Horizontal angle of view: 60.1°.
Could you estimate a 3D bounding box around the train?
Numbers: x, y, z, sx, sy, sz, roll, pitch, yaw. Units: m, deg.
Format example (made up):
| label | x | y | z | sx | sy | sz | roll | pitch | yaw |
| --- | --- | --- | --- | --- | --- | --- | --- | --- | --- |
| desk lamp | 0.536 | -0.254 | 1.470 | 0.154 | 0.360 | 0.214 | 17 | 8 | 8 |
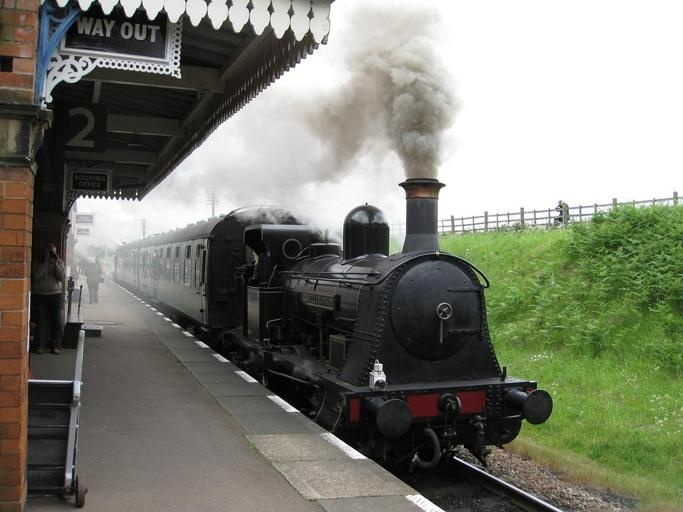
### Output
| label | x | y | z | sx | sy | sz | roll | pitch | yaw |
| --- | --- | --- | --- | --- | --- | --- | --- | --- | --- |
| train | -1.498 | 0.539 | 12.894 | 2.510 | 3.679 | 13.376 | -1 | 5 | -22 |
